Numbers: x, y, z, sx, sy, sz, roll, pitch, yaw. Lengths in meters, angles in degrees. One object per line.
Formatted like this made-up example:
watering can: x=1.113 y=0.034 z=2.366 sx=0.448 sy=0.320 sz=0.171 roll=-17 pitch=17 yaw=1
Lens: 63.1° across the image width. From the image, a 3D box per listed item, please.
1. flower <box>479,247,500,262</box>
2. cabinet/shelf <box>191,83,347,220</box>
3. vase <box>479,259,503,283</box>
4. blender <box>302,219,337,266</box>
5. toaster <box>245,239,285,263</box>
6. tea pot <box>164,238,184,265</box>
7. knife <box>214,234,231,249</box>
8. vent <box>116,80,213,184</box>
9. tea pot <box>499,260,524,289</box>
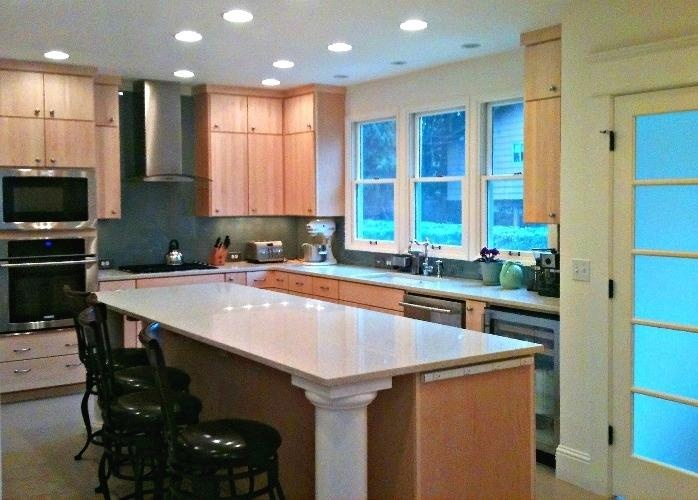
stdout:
flower: x=1.226 y=0.044 z=5.003 sx=0.137 sy=0.078 sz=0.136 roll=-4 pitch=-7 yaw=19
cabinet/shelf: x=-0.943 y=-1.178 z=6.563 sx=1.548 sy=1.333 sz=0.783 roll=0 pitch=1 yaw=-20
vase: x=1.225 y=0.191 z=5.027 sx=0.194 sy=0.206 sz=0.189 roll=2 pitch=0 yaw=-6
blender: x=-0.333 y=-0.111 z=6.822 sx=0.371 sy=0.515 sz=0.483 roll=1 pitch=6 yaw=-1
toaster: x=-1.037 y=0.035 z=6.834 sx=0.356 sy=0.226 sz=0.273 roll=2 pitch=-4 yaw=-41
tea pot: x=-2.015 y=0.036 z=6.529 sx=0.187 sy=0.302 sz=0.297 roll=1 pitch=-4 yaw=-14
knife: x=-1.519 y=-0.100 z=6.782 sx=0.148 sy=0.081 sz=0.189 roll=3 pitch=-11 yaw=-18
vent: x=-2.058 y=-1.322 z=6.270 sx=0.839 sy=1.102 sz=0.572 roll=-1 pitch=6 yaw=-26
tea pot: x=1.356 y=0.211 z=4.748 sx=0.179 sy=0.222 sz=0.233 roll=-6 pitch=-11 yaw=39
